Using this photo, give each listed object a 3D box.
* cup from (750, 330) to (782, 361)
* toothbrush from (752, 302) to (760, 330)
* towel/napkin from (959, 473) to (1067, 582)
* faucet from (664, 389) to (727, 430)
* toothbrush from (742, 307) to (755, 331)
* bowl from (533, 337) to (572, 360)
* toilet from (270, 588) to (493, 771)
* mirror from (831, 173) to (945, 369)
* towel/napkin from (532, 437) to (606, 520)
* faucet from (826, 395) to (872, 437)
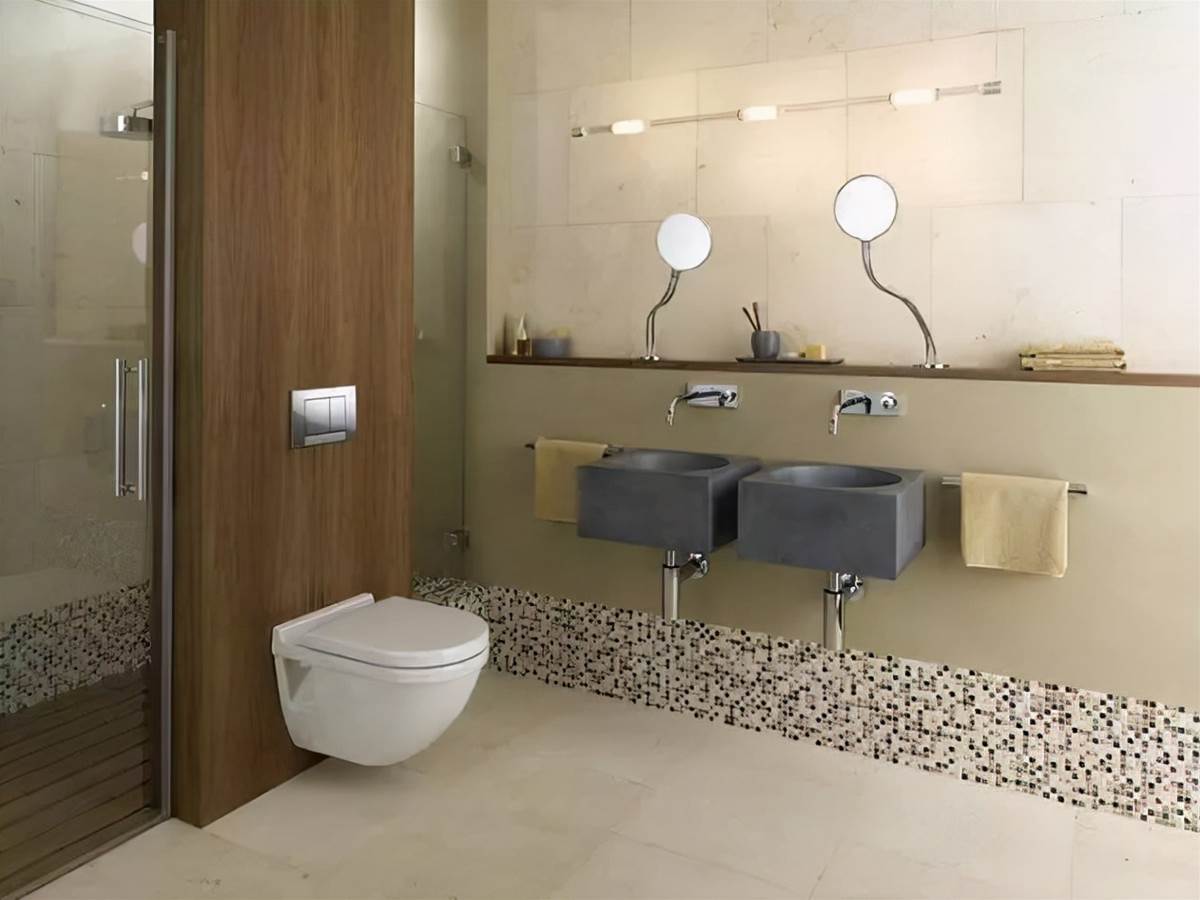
[{"bbox_3d":[0.616,-0.384,3.586,0.104,0.097,0.107,-1,5,0],"label":"cup"},{"bbox_3d":[0.607,-0.512,3.713,0.022,0.105,0.017,-12,-8,10],"label":"toothbrush"},{"bbox_3d":[1.363,0.234,3.153,0.317,0.345,0.100,1,5,24],"label":"towel/napkin"},{"bbox_3d":[0.335,-0.153,3.638,0.262,0.149,0.188,-5,15,-22],"label":"faucet"},{"bbox_3d":[0.584,-0.506,3.732,0.027,0.123,0.016,-12,-23,-24],"label":"toothbrush"},{"bbox_3d":[-0.204,-0.417,3.996,0.160,0.090,0.187,0,14,-3],"label":"bowl"},{"bbox_3d":[-0.699,0.718,3.118,0.591,0.436,0.492,3,6,20],"label":"toilet"},{"bbox_3d":[1.037,-0.635,3.419,0.410,0.669,0.298,5,14,18],"label":"mirror"},{"bbox_3d":[-0.159,0.112,3.862,0.283,0.321,0.080,4,7,33],"label":"towel/napkin"},{"bbox_3d":[0.855,-0.106,3.340,0.095,0.106,0.210,4,6,45],"label":"faucet"}]
